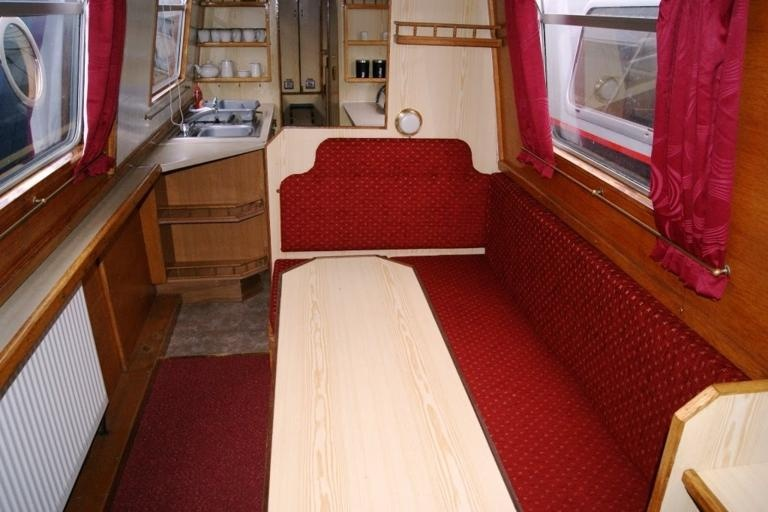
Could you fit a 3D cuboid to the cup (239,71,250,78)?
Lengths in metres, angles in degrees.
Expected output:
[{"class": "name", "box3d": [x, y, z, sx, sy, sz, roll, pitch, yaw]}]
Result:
[{"class": "cup", "box3d": [-1.565, -2.038, 5.514, 0.097, 0.062, 0.100, 1, 25, 0]}]

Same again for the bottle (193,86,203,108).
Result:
[{"class": "bottle", "box3d": [-1.960, -1.672, 5.141, 0.080, 0.206, 0.275, -8, 24, -20]}]

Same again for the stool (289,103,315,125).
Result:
[{"class": "stool", "box3d": [-1.272, -2.196, 7.620, 0.426, 0.274, 0.322, -3, 23, -7]}]

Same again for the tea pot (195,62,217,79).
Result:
[{"class": "tea pot", "box3d": [-1.945, -2.040, 5.405, 0.223, 0.132, 0.179, 12, 43, -5]}]

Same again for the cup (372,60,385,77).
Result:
[{"class": "cup", "box3d": [-0.059, -1.878, 4.962, 0.139, 0.147, 0.104, -4, 23, -11]}]

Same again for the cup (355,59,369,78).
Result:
[{"class": "cup", "box3d": [-0.208, -1.859, 4.908, 0.130, 0.145, 0.075, 1, 22, 2]}]

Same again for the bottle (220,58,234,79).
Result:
[{"class": "bottle", "box3d": [-1.755, -2.085, 5.483, 0.149, 0.165, 0.269, -6, 24, -15]}]

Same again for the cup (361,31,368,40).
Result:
[{"class": "cup", "box3d": [-0.218, -2.371, 5.300, 0.083, 0.083, 0.226, -1, 23, -3]}]
